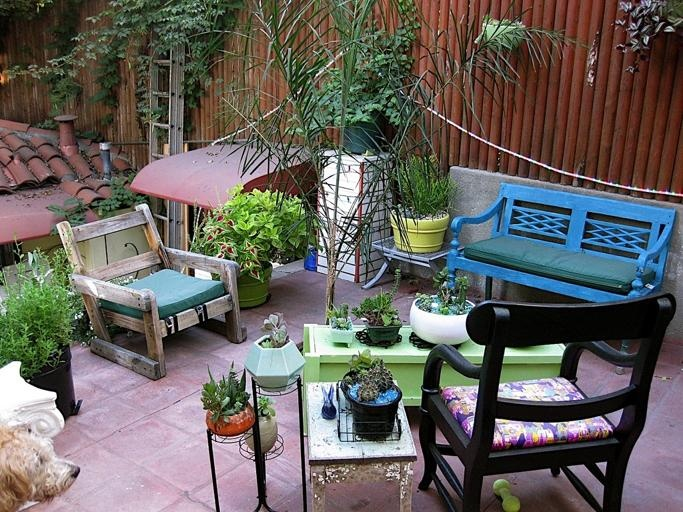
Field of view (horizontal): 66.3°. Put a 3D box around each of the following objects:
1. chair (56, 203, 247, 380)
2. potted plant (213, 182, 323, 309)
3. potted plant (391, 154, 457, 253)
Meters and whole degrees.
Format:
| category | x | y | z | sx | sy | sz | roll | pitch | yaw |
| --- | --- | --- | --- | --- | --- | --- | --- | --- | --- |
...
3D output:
| category | x | y | z | sx | sy | sz | roll | pitch | yaw |
| --- | --- | --- | --- | --- | --- | --- | --- | --- | --- |
| chair | -1.608 | 0.245 | 4.529 | 1.268 | 1.012 | 1.152 | 19 | 22 | 39 |
| potted plant | -0.860 | -0.070 | 5.294 | 1.214 | 1.277 | 1.000 | -7 | 24 | -38 |
| potted plant | 0.782 | -0.552 | 5.594 | 0.747 | 0.936 | 0.768 | 7 | 7 | 38 |
